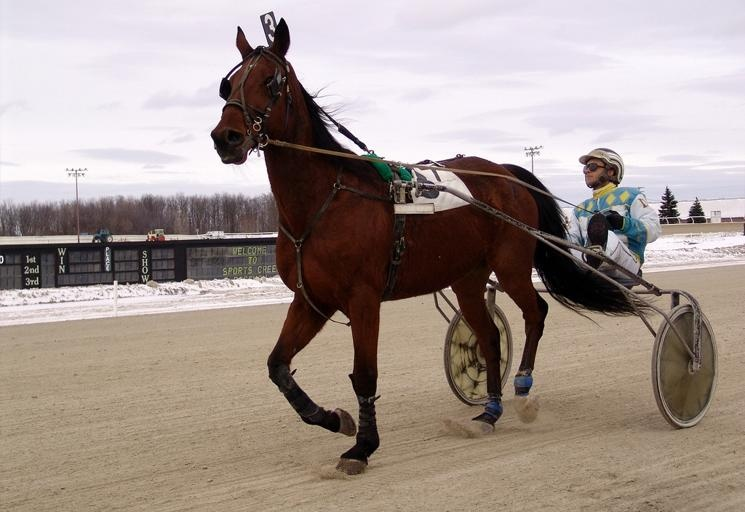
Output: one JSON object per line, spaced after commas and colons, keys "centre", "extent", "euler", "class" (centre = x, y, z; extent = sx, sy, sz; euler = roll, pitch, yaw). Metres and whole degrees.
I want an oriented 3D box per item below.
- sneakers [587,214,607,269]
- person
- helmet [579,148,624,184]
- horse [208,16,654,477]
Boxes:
{"centre": [1.908, -0.148, 5.827], "extent": [0.164, 0.535, 0.205], "euler": [-1, -8, 16], "class": "sneakers"}
{"centre": [2.068, -0.222, 6.029], "extent": [0.733, 1.067, 0.564], "euler": [35, -43, -21], "class": "person"}
{"centre": [2.206, -0.837, 6.429], "extent": [0.361, 0.314, 0.271], "euler": [11, 0, 21], "class": "helmet"}
{"centre": [0.803, 0.122, 5.722], "extent": [4.368, 3.141, 1.047], "euler": [1, -4, -26], "class": "horse"}
